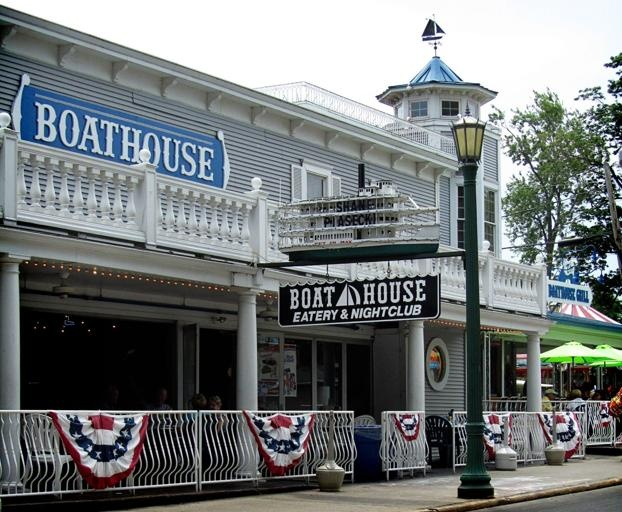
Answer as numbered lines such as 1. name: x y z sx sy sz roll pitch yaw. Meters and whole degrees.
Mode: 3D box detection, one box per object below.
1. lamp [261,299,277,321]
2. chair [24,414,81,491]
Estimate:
1. lamp: -0.902 1.170 21.929 0.391 0.383 0.383 3 -6 -14
2. chair: -3.926 2.924 15.516 0.900 1.200 0.958 7 -9 -26
